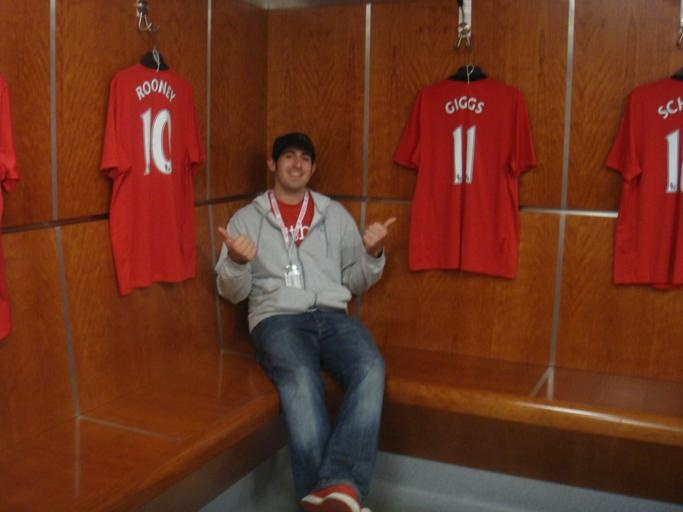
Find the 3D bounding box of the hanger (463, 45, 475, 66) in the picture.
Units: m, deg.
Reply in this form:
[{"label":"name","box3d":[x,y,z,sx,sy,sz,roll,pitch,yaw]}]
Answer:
[{"label":"hanger","box3d":[0.691,-1.083,3.118,0.027,0.104,0.094,1,6,25]}]

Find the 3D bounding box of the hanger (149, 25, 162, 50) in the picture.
[{"label":"hanger","box3d":[-0.854,-1.001,2.644,0.030,0.115,0.075,4,14,12]}]
